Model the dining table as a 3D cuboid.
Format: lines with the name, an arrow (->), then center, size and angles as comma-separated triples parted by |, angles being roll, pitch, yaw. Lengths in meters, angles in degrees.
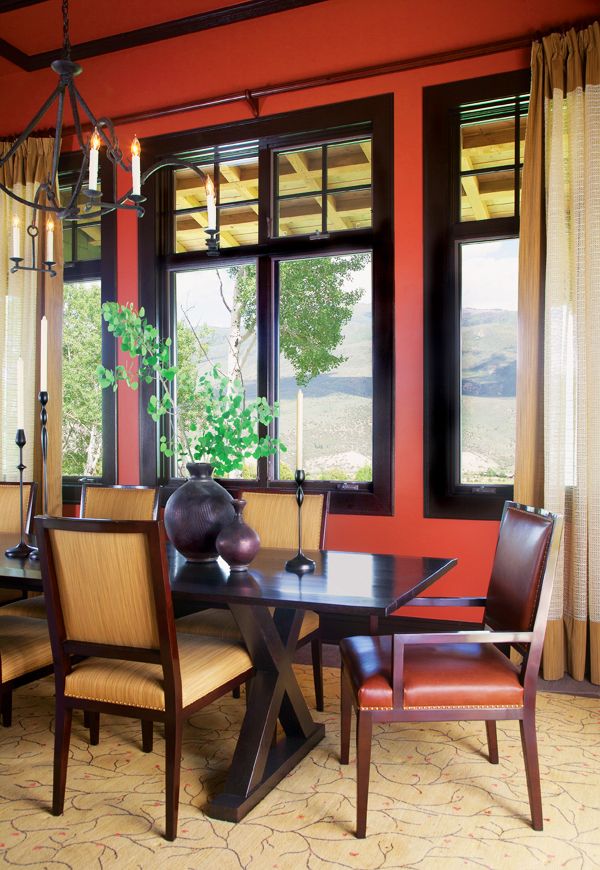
dining table -> -0.220, 0.698, 2.013 | 0.757, 0.397, 0.397 | -1, 0, 24

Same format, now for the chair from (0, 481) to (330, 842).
chair -> -0.282, 0.575, 2.066 | 0.588, 0.778, 0.809 | -1, -1, 20

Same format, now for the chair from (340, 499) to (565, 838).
chair -> 0.278, 0.585, 2.207 | 0.695, 1.065, 0.685 | 1, -5, -2
